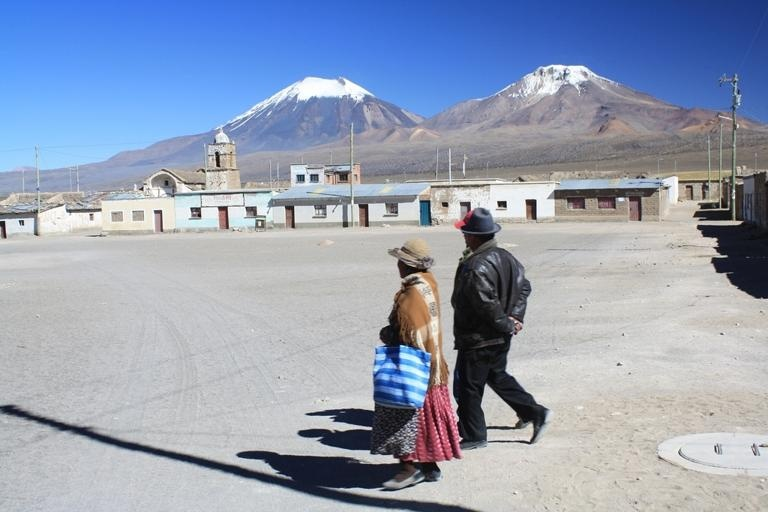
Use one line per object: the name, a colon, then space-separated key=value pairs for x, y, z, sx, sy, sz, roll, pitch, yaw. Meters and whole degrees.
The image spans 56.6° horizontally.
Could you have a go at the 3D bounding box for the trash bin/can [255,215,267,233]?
trash bin/can: x=-10.304 y=-2.758 z=59.533 sx=1.312 sy=1.669 sz=1.235 roll=-1 pitch=8 yaw=-1

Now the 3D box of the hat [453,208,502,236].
hat: x=1.053 y=-0.360 z=8.043 sx=0.407 sy=0.140 sz=0.356 roll=4 pitch=18 yaw=20

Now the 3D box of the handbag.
handbag: x=0.221 y=1.264 z=7.489 sx=0.740 sy=0.651 sz=0.374 roll=2 pitch=-7 yaw=0

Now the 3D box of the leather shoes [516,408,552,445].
leather shoes: x=1.790 y=1.989 z=8.389 sx=0.252 sy=0.535 sz=0.191 roll=13 pitch=25 yaw=6

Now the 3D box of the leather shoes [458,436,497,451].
leather shoes: x=1.066 y=2.158 z=8.194 sx=0.361 sy=0.155 sz=0.130 roll=5 pitch=-5 yaw=-6

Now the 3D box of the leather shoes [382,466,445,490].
leather shoes: x=0.329 y=2.353 z=7.660 sx=0.640 sy=0.162 sz=0.221 roll=-3 pitch=-5 yaw=-21
